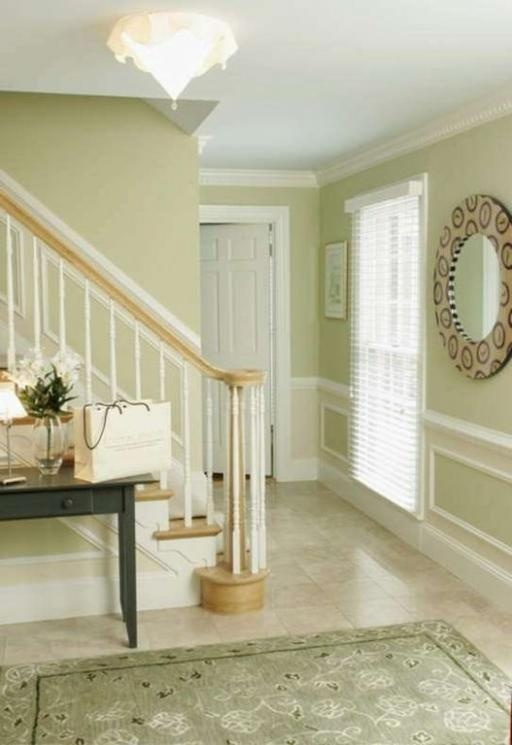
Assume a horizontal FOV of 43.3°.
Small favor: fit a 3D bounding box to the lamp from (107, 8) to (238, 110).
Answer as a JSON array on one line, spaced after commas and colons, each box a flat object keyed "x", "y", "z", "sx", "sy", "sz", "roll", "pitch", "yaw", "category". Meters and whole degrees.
[{"x": -0.285, "y": -1.095, "z": 2.353, "sx": 0.504, "sy": 0.271, "sz": 0.517, "roll": 17, "pitch": 29, "yaw": -5, "category": "lamp"}]

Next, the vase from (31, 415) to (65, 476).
[{"x": -0.831, "y": 0.296, "z": 2.579, "sx": 0.112, "sy": 0.232, "sz": 0.064, "roll": -2, "pitch": 2, "yaw": -20, "category": "vase"}]
